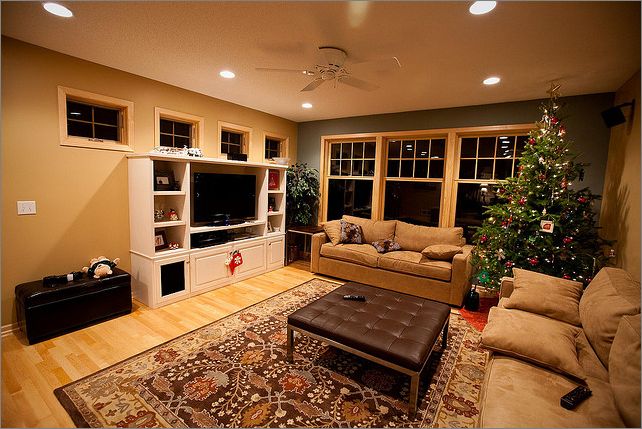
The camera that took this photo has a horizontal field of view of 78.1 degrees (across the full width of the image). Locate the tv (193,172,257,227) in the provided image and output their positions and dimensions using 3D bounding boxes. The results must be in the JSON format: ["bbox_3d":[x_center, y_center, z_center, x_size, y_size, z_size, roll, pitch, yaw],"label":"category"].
[{"bbox_3d":[-1.519,-0.235,6.058,0.120,0.611,0.907,3,4,32],"label":"tv"}]

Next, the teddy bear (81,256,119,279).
[{"bbox_3d":[-2.812,0.660,4.982,0.311,0.137,0.271,13,22,40],"label":"teddy bear"}]

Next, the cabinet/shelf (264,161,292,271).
[{"bbox_3d":[-0.784,0.045,6.804,0.356,1.784,0.551,1,7,-5],"label":"cabinet/shelf"}]

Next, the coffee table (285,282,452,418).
[{"bbox_3d":[0.583,1.192,4.146,1.259,0.486,1.310,8,10,31],"label":"coffee table"}]

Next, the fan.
[{"bbox_3d":[0.214,-1.744,4.958,1.503,0.409,0.991,1,6,-2],"label":"fan"}]

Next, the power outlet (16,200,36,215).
[{"bbox_3d":[-3.523,-0.089,4.699,0.176,0.156,0.040,8,0,-44],"label":"power outlet"}]

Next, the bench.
[{"bbox_3d":[-3.126,0.828,4.828,0.739,0.688,1.294,2,6,40],"label":"bench"}]
